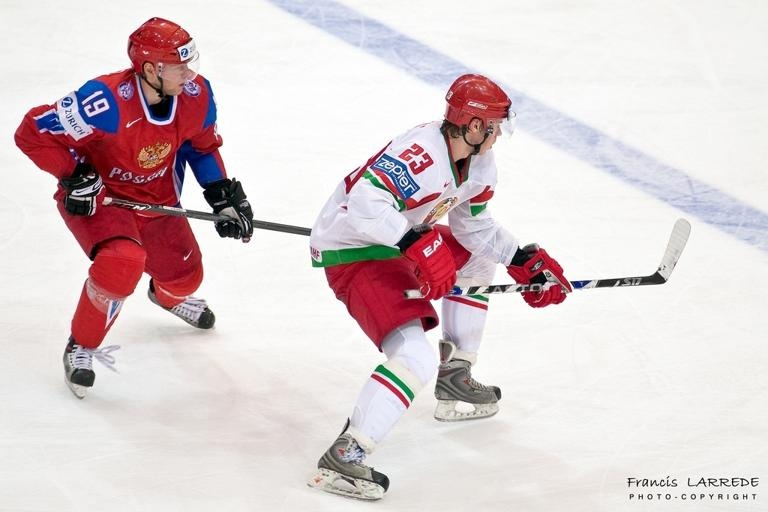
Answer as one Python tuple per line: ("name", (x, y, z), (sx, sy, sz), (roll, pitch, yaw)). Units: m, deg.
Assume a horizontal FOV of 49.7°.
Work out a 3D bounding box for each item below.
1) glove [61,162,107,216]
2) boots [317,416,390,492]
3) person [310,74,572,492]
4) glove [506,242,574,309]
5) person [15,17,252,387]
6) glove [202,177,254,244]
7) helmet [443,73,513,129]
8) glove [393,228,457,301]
("glove", (-1.532, -0.315, 4.137), (0.267, 0.221, 0.191), (-8, 38, -34))
("boots", (-0.143, 0.928, 3.735), (0.306, 0.310, 0.174), (18, 24, 33))
("person", (0.151, 0.063, 4.004), (1.384, 1.826, 0.815), (-15, 29, -42))
("glove", (0.789, 0.094, 4.312), (0.270, 0.365, 0.179), (-45, 0, -22))
("person", (-1.263, -0.279, 4.326), (0.990, 1.862, 0.561), (-13, 28, -39))
("glove", (-0.824, -0.238, 4.511), (0.289, 0.333, 0.167), (20, 1, 12))
("helmet", (0.443, -0.699, 3.996), (0.339, 0.257, 0.251), (13, 17, -12))
("glove", (0.207, 0.034, 3.893), (0.256, 0.335, 0.139), (-42, 26, -19))
